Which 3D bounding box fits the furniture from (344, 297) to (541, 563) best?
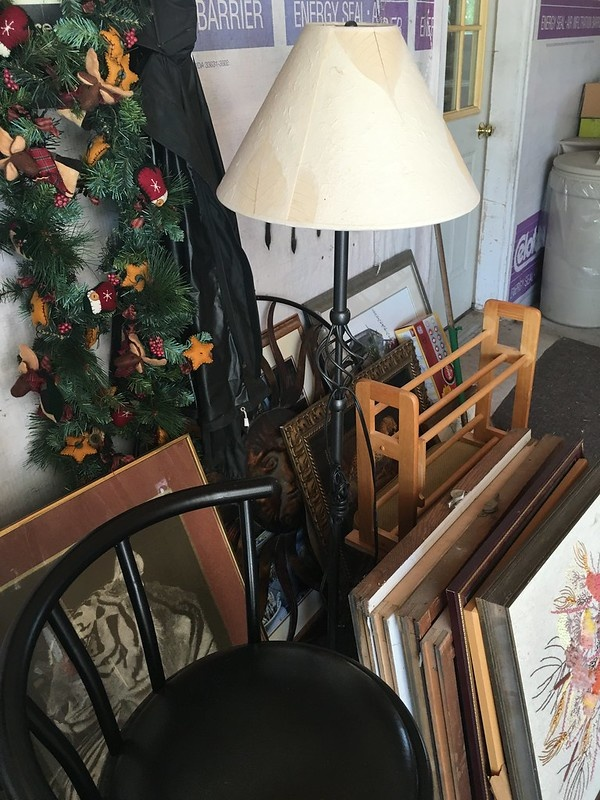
[{"bbox_3d":[0.382,0.053,1.569,0.220,0.455,0.618,19,35,39],"label":"furniture"}]
